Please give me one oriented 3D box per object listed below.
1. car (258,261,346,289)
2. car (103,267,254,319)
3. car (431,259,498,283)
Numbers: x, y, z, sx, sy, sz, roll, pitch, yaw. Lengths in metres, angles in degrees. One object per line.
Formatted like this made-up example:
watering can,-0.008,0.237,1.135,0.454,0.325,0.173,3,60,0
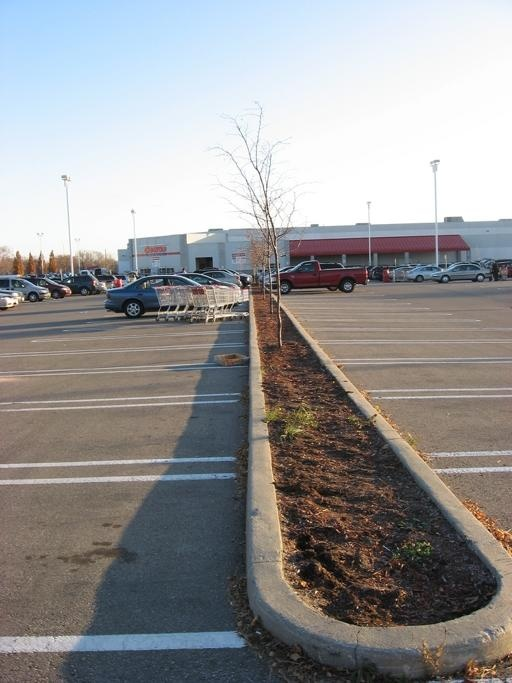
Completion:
car,3.902,-4.046,39.346,6.854,2.033,3.083,1,3,-1
car,-2.746,-1.905,24.320,6.687,1.902,2.660,-5,2,1
car,18.187,-6.134,54.795,5.385,1.708,2.121,1,3,-4
